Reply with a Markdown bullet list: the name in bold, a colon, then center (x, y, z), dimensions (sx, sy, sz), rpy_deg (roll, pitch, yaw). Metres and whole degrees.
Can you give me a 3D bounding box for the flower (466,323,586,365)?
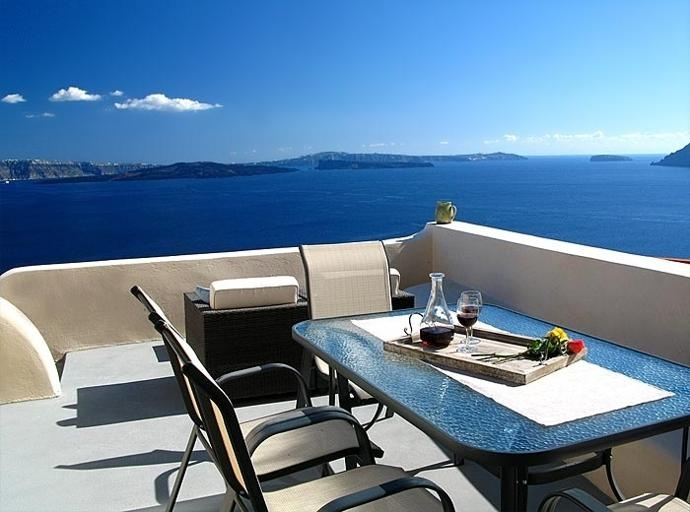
- **flower**: center (0.655, 0.328, 1.633), dimensions (0.342, 0.088, 0.150), rpy_deg (-9, 7, -7)
